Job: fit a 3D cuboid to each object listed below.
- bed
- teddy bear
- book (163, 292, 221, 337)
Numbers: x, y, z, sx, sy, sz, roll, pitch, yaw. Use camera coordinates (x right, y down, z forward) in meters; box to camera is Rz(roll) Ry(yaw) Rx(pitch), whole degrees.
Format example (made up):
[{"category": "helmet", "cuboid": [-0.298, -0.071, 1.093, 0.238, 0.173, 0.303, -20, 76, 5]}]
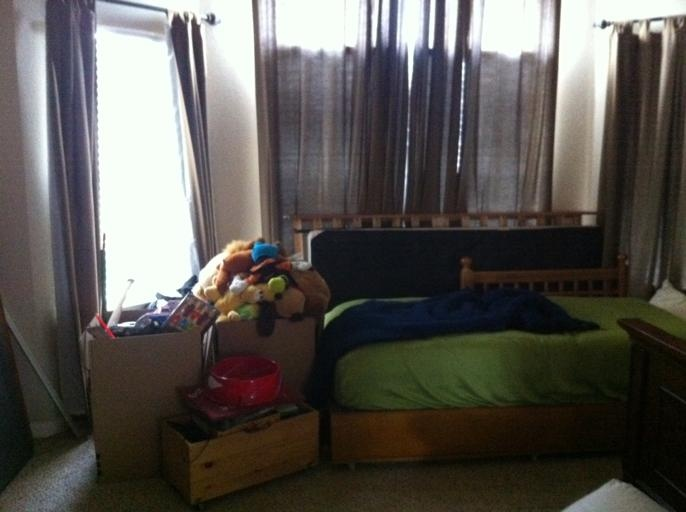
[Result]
[{"category": "bed", "cuboid": [0.629, 0.591, 2.869, 1.301, 0.379, 0.771, -1, 6, -2]}, {"category": "teddy bear", "cuboid": [-0.339, 0.124, 2.868, 0.460, 0.146, 0.449, -3, 34, -24]}, {"category": "book", "cuboid": [-0.677, 0.267, 2.694, 0.168, 0.171, 0.046, -56, 15, -19]}]
